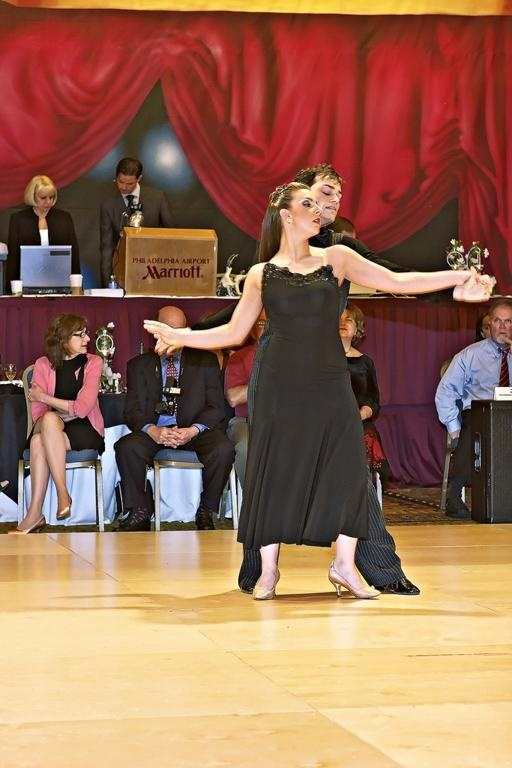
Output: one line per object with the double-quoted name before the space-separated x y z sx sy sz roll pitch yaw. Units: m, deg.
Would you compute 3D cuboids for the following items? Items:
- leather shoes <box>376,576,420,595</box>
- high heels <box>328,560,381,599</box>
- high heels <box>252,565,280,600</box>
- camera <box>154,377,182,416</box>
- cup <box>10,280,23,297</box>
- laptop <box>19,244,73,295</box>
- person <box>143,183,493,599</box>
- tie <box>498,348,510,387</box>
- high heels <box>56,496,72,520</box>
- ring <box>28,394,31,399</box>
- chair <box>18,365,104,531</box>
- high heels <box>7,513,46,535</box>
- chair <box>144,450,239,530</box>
"leather shoes" 0.508 0.728 2.577 0.172 0.066 0.061 -3 -3 15
"high heels" 0.341 0.718 2.593 0.240 0.151 0.086 -2 0 -3
"high heels" 0.037 0.724 2.531 0.050 0.152 0.038 4 -16 39
"camera" -0.605 0.089 4.928 0.196 0.238 0.095 7 0 28
"cup" -1.853 -0.728 5.459 0.146 0.131 0.061 -3 -8 36
"laptop" -1.589 -0.871 5.608 0.440 0.379 0.302 2 2 11
"person" 0.168 0.027 2.492 1.038 1.465 0.350 3 -6 -7
"tie" 1.950 -0.124 5.527 0.097 0.288 0.089 2 -6 -3
"high heels" -1.214 0.788 4.502 0.067 0.083 0.192 -13 15 6
"ring" -1.534 0.084 4.805 0.017 0.045 0.035 -2 -8 -15
"chair" -1.248 0.357 4.637 0.511 1.168 0.522 4 -7 -14
"high heels" -1.395 0.854 4.314 0.201 0.071 0.105 -2 0 -17
"chair" -0.400 0.692 4.989 0.437 0.451 0.510 0 1 25
